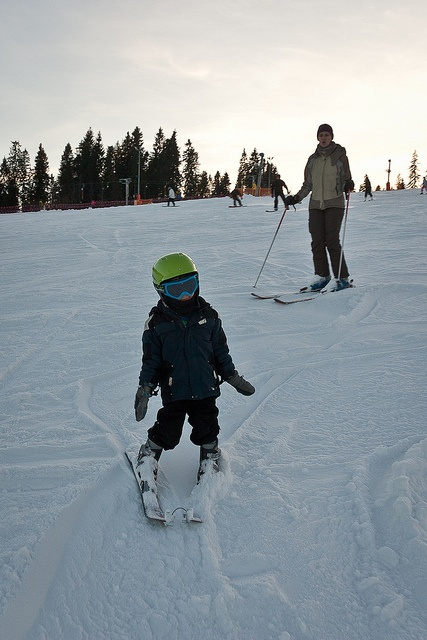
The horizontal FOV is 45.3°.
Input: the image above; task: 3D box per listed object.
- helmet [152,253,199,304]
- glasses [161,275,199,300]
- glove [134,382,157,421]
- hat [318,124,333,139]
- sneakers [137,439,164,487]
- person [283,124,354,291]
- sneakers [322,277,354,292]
[{"bbox_3d":[-0.172,-0.196,2.450,0.196,0.205,0.226,-16,6,-18],"label":"helmet"},{"bbox_3d":[-0.149,-0.152,2.361,0.167,0.104,0.094,-4,13,-11],"label":"glasses"},{"bbox_3d":[-0.320,0.381,2.432,0.117,0.175,0.079,11,0,10],"label":"glove"},{"bbox_3d":[1.264,-2.153,5.833,0.163,0.130,0.117,2,13,13],"label":"hat"},{"bbox_3d":[-0.302,0.657,2.349,0.075,0.114,0.242,27,24,-33],"label":"sneakers"},{"bbox_3d":[1.313,-1.298,6.144,0.748,1.937,0.444,11,17,43],"label":"person"},{"bbox_3d":[1.509,-0.439,6.145,0.429,0.183,0.145,-7,14,-22],"label":"sneakers"}]
